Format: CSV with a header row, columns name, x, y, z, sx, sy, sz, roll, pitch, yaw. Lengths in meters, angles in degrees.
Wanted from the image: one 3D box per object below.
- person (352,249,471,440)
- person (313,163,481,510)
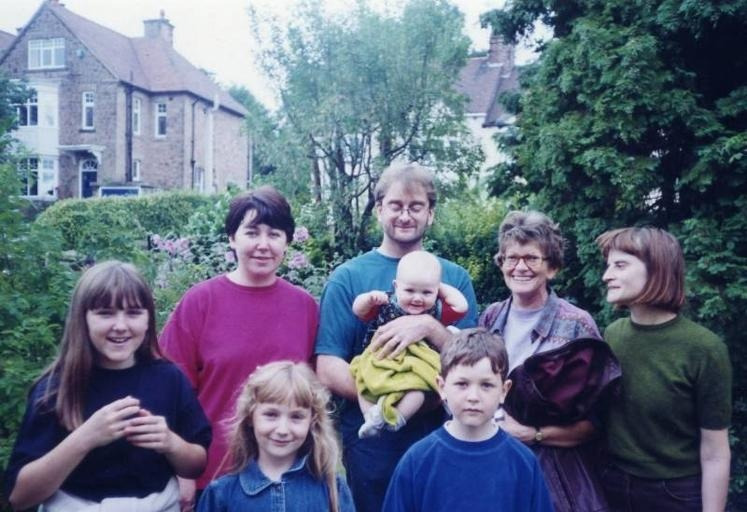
name,x,y,z,sx,sy,sz,roll,pitch,yaw
person,0.344,1.042,9.053,1.182,1.890,0.774,16,-33,17
person,0.340,0.805,8.886,1.246,0.920,2.136,3,39,10
